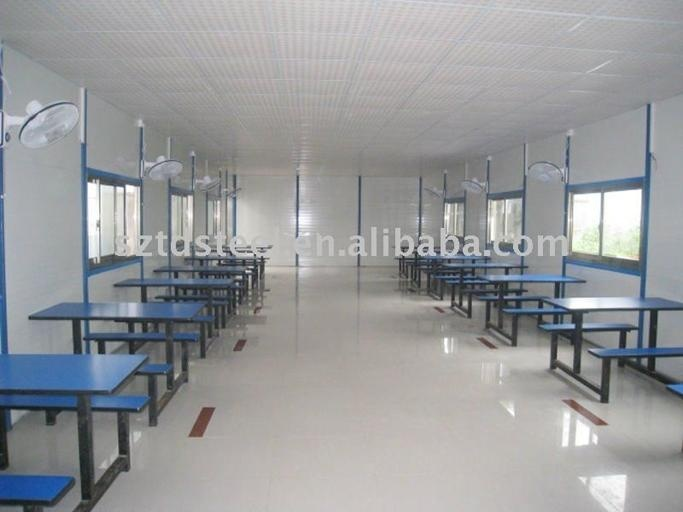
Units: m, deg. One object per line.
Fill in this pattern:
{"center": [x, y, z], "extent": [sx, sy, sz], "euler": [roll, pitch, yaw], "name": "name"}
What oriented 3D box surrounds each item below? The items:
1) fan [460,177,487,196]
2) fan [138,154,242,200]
{"center": [2.264, -1.212, 8.595], "extent": [0.442, 0.178, 0.378], "euler": [5, 2, 8], "name": "fan"}
{"center": [-2.373, -1.183, 7.177], "extent": [1.054, 0.488, 0.432], "euler": [-1, 2, 2], "name": "fan"}
